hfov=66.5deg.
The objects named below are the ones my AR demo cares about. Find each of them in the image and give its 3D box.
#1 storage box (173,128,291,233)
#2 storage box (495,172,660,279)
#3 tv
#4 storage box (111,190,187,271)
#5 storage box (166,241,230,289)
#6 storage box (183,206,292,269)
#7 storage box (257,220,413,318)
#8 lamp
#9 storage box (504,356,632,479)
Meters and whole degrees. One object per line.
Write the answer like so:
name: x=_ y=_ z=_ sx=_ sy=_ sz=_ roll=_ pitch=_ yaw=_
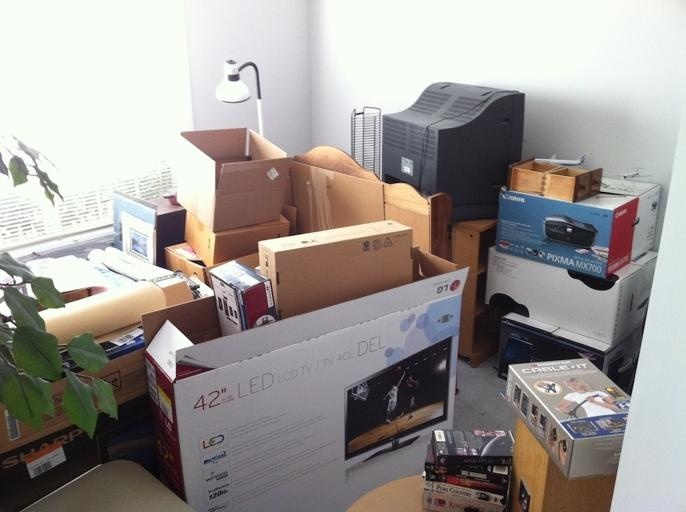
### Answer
storage box: x=-0.641 y=-0.455 z=3.034 sx=0.588 sy=0.447 sz=0.704 roll=-11 pitch=25 yaw=-26
storage box: x=1.350 y=-0.318 z=2.798 sx=0.602 sy=0.340 sz=0.606 roll=18 pitch=30 yaw=39
tv: x=0.619 y=-0.616 z=3.079 sx=0.606 sy=0.714 sz=0.609 roll=-10 pitch=25 yaw=-25
storage box: x=-1.056 y=-0.125 z=2.873 sx=0.365 sy=0.285 sz=0.201 roll=15 pitch=21 yaw=40
storage box: x=-0.793 y=0.035 z=2.797 sx=0.219 sy=0.130 sz=0.327 roll=-25 pitch=46 yaw=-36
storage box: x=-0.597 y=-0.078 z=2.964 sx=0.373 sy=0.240 sz=0.367 roll=-18 pitch=36 yaw=-27
storage box: x=-0.012 y=0.068 z=2.069 sx=0.357 sy=0.185 sz=0.106 roll=-19 pitch=12 yaw=-15
lamp: x=-0.682 y=-1.021 z=3.463 sx=0.327 sy=0.544 sz=1.025 roll=-3 pitch=23 yaw=-9
storage box: x=0.713 y=0.490 z=1.613 sx=0.318 sy=0.147 sz=0.366 roll=-4 pitch=23 yaw=-11
